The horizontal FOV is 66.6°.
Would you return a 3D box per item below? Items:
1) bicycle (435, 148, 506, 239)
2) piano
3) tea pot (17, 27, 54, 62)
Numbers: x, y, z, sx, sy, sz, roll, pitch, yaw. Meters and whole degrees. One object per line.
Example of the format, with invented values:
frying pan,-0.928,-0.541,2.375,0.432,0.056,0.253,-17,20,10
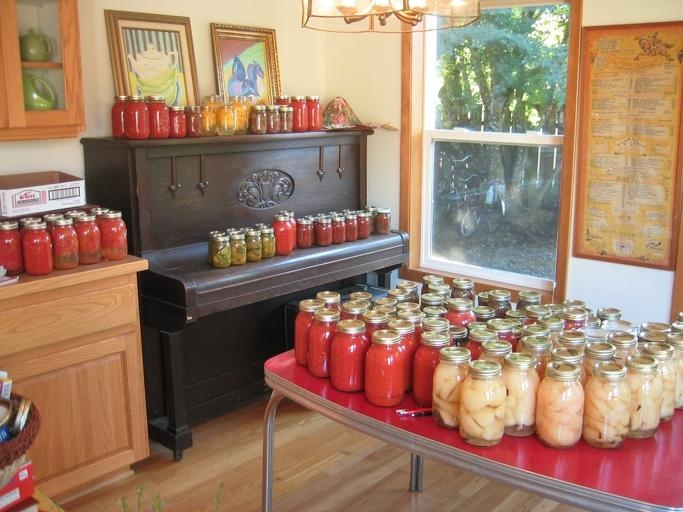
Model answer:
bicycle,0.930,-0.464,3.689,0.688,0.806,0.076,7,17,30
piano,-0.597,0.230,2.714,0.769,1.513,1.859,15,23,41
tea pot,-1.409,-0.980,2.413,0.160,0.122,0.113,9,16,20
